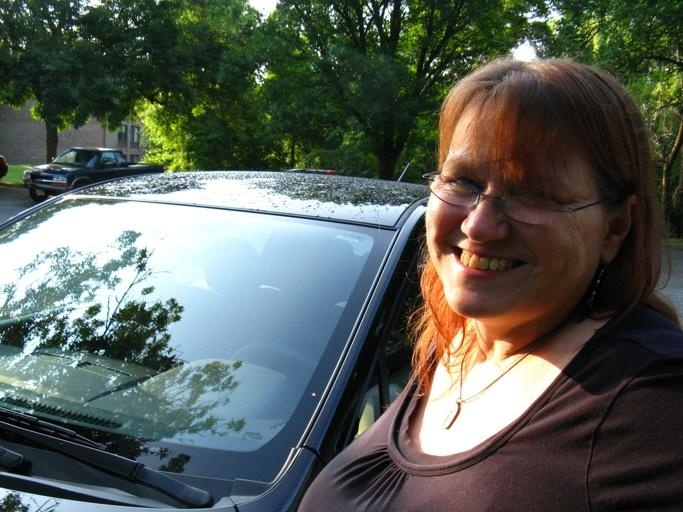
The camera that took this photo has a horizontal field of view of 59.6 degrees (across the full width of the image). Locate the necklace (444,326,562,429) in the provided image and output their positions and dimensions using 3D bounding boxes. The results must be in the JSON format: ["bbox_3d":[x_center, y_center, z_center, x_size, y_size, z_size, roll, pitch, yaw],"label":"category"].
[{"bbox_3d":[0.363,0.225,1.398,0.116,0.017,0.417,9,44,44],"label":"necklace"}]
